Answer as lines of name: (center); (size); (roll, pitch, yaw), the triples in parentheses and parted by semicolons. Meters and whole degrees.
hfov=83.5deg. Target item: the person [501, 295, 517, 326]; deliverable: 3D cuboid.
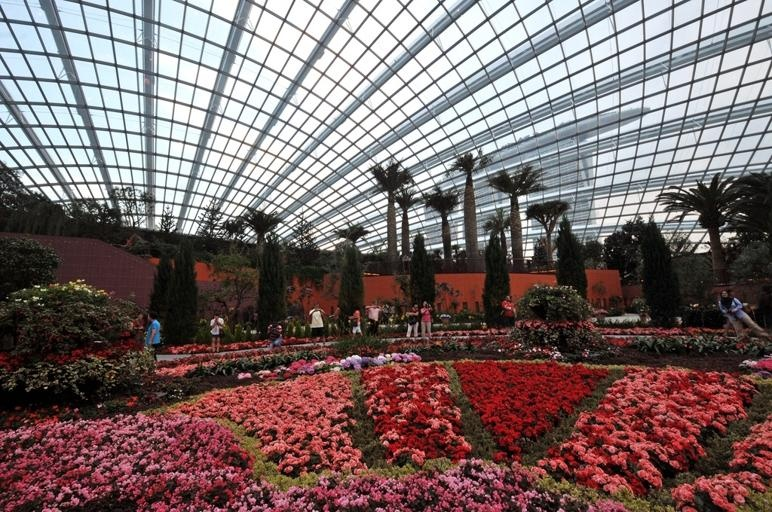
person: (6.515, 2.929, 23.145); (0.555, 1.651, 2.294); (-5, -8, 14)

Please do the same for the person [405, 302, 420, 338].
person: (1.347, 3.209, 21.196); (0.595, 1.538, 1.135); (-4, -8, 7)

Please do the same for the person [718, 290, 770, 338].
person: (13.929, 2.271, 17.191); (1.159, 1.778, 1.092); (-10, -11, 40)
